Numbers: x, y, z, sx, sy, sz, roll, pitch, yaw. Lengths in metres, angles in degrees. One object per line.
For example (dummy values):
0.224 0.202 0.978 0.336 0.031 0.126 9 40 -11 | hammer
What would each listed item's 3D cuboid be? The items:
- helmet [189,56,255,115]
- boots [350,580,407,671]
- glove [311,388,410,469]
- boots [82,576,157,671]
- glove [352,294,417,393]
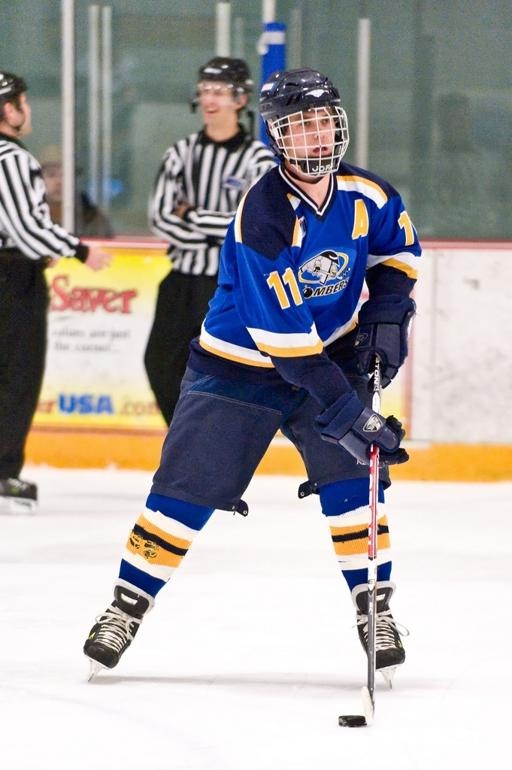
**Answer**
-0.125 -1.151 3.399 0.229 0.189 0.170 9 4 -5 | helmet
0.228 0.450 1.716 0.085 0.124 0.173 -20 40 5 | boots
0.176 0.078 1.608 0.164 0.112 0.073 33 -4 -5 | glove
-0.270 0.470 1.738 0.081 0.110 0.243 33 23 -6 | boots
0.247 -0.072 1.752 0.117 0.175 0.071 -10 -29 39 | glove
